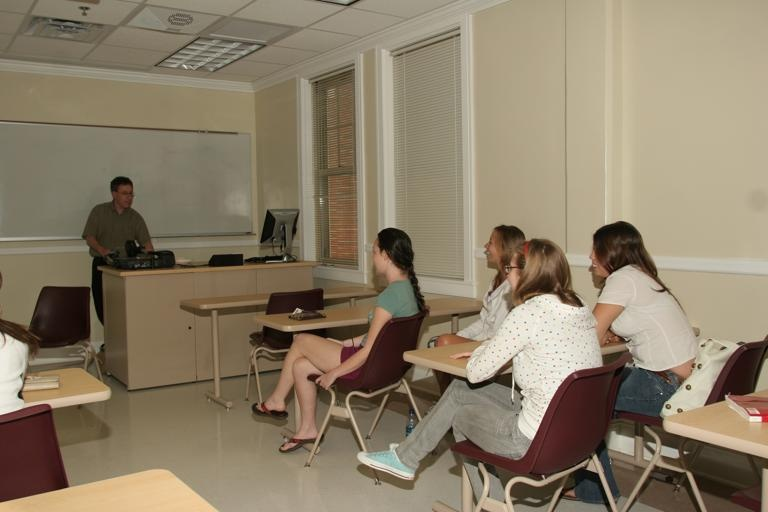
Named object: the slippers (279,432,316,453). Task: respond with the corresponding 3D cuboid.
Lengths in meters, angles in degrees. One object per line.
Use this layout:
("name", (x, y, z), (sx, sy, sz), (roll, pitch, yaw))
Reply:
("slippers", (-0.689, 1.488, 4.134), (0.314, 0.089, 0.140), (-1, -2, -21))

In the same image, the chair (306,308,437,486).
("chair", (-0.117, 1.073, 4.046), (0.879, 1.017, 0.839), (0, -6, -26))

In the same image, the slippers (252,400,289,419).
("slippers", (-0.944, 1.297, 4.254), (0.328, 0.094, 0.143), (7, 7, 17))

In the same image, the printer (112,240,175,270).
("printer", (-2.643, 0.009, 5.701), (0.478, 0.236, 0.352), (3, -2, -35))
